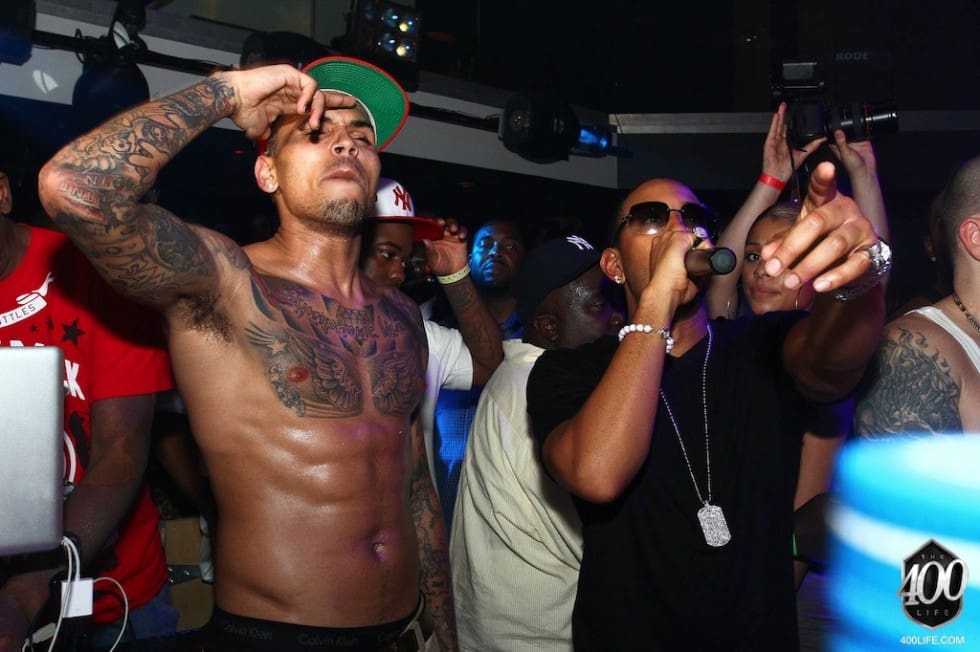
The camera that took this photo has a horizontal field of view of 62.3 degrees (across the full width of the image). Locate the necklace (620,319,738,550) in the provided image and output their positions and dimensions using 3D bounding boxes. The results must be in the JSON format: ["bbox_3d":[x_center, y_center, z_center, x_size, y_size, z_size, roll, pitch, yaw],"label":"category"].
[{"bbox_3d":[0.712,0.351,2.862,0.308,0.848,0.070,-15,-20,2],"label":"necklace"}]

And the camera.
[{"bbox_3d":[1.989,-1.237,4.621,0.648,0.364,0.518,0,0,23],"label":"camera"}]

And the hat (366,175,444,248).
[{"bbox_3d":[-0.435,-0.627,4.368,0.405,0.206,0.262,17,-4,13],"label":"hat"}]

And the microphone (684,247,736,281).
[{"bbox_3d":[0.726,-0.212,2.729,0.136,0.123,0.253,5,10,4],"label":"microphone"}]
